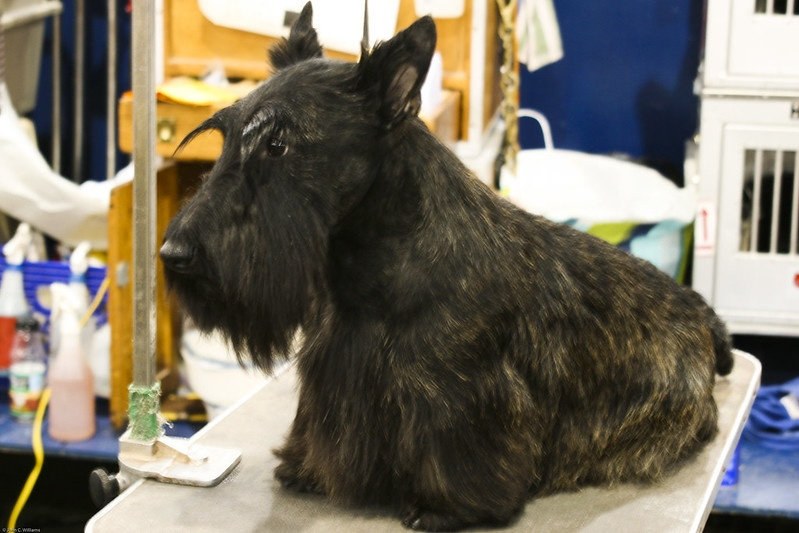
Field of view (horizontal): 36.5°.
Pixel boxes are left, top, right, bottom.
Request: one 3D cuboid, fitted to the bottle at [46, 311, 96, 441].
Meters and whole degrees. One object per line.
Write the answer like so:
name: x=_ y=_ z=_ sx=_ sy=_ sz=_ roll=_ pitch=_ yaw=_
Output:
bottle: x=-1.095 y=0.352 z=4.021 sx=0.154 sy=0.453 sz=0.152 roll=0 pitch=10 yaw=0
